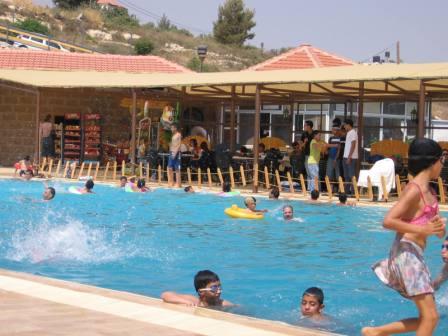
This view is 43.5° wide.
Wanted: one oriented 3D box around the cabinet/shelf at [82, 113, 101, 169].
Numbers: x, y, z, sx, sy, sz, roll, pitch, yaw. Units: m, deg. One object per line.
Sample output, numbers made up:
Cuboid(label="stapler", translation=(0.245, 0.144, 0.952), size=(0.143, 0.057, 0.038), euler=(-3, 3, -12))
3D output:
Cuboid(label="cabinet/shelf", translation=(-5.577, -1.224, 23.646), size=(0.803, 2.020, 1.077), euler=(-1, 8, -14))

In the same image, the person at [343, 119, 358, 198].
Cuboid(label="person", translation=(3.480, -0.437, 15.465), size=(0.372, 1.788, 0.699), euler=(2, 8, 12))

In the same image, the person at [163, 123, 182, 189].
Cuboid(label="person", translation=(-1.562, -0.397, 17.482), size=(0.409, 1.917, 1.207), euler=(0, 8, -6))

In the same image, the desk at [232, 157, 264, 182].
Cuboid(label="desk", translation=(0.711, 0.031, 19.032), size=(0.874, 0.890, 0.871), euler=(1, -1, -30))

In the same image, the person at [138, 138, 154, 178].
Cuboid(label="person", translation=(-2.681, -0.252, 19.302), size=(0.606, 1.333, 2.032), euler=(-1, 9, -9))

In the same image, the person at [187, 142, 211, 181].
Cuboid(label="person", translation=(-0.814, -0.366, 18.631), size=(0.834, 1.599, 0.567), euler=(-2, 14, 14))

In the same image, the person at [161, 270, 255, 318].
Cuboid(label="person", translation=(-0.259, 1.777, 7.707), size=(0.910, 0.367, 0.716), euler=(0, 1, 32))

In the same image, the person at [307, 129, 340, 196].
Cuboid(label="person", translation=(2.851, -0.153, 16.077), size=(0.891, 1.801, 0.909), euler=(0, -2, -9))

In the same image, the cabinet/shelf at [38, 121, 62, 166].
Cuboid(label="cabinet/shelf", translation=(-6.435, -0.879, 20.526), size=(0.497, 1.817, 0.452), euler=(0, 6, -5))

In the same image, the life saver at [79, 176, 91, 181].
Cuboid(label="life saver", translation=(-4.552, 0.350, 18.338), size=(0.301, 0.102, 0.213), euler=(3, 4, 18))

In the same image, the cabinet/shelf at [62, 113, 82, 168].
Cuboid(label="cabinet/shelf", translation=(-6.367, -1.351, 23.390), size=(0.761, 2.269, 0.669), euler=(-3, 26, -21))

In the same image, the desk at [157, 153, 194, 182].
Cuboid(label="desk", translation=(-1.662, -0.092, 19.082), size=(1.017, 0.812, 1.054), euler=(-1, 1, -9))

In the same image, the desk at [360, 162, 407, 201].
Cuboid(label="desk", translation=(4.111, 0.224, 14.898), size=(0.977, 1.122, 0.724), euler=(2, 3, 29))

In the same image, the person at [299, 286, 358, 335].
Cuboid(label="person", translation=(1.401, 1.911, 7.676), size=(0.772, 0.463, 0.657), euler=(3, 9, 13))

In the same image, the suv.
Cuboid(label="suv", translation=(-13.951, -9.438, 41.969), size=(3.355, 1.364, 5.952), euler=(-2, 9, -18))

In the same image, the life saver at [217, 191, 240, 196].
Cuboid(label="life saver", translation=(0.149, 0.757, 16.076), size=(0.687, 0.146, 0.366), euler=(-1, 9, -13))

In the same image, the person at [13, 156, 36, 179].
Cuboid(label="person", translation=(-6.575, 0.023, 18.441), size=(0.489, 0.791, 0.464), euler=(-1, -4, -14))

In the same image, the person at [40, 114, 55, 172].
Cuboid(label="person", translation=(-6.419, -1.099, 20.325), size=(0.501, 1.598, 0.907), euler=(-2, 8, -17))
